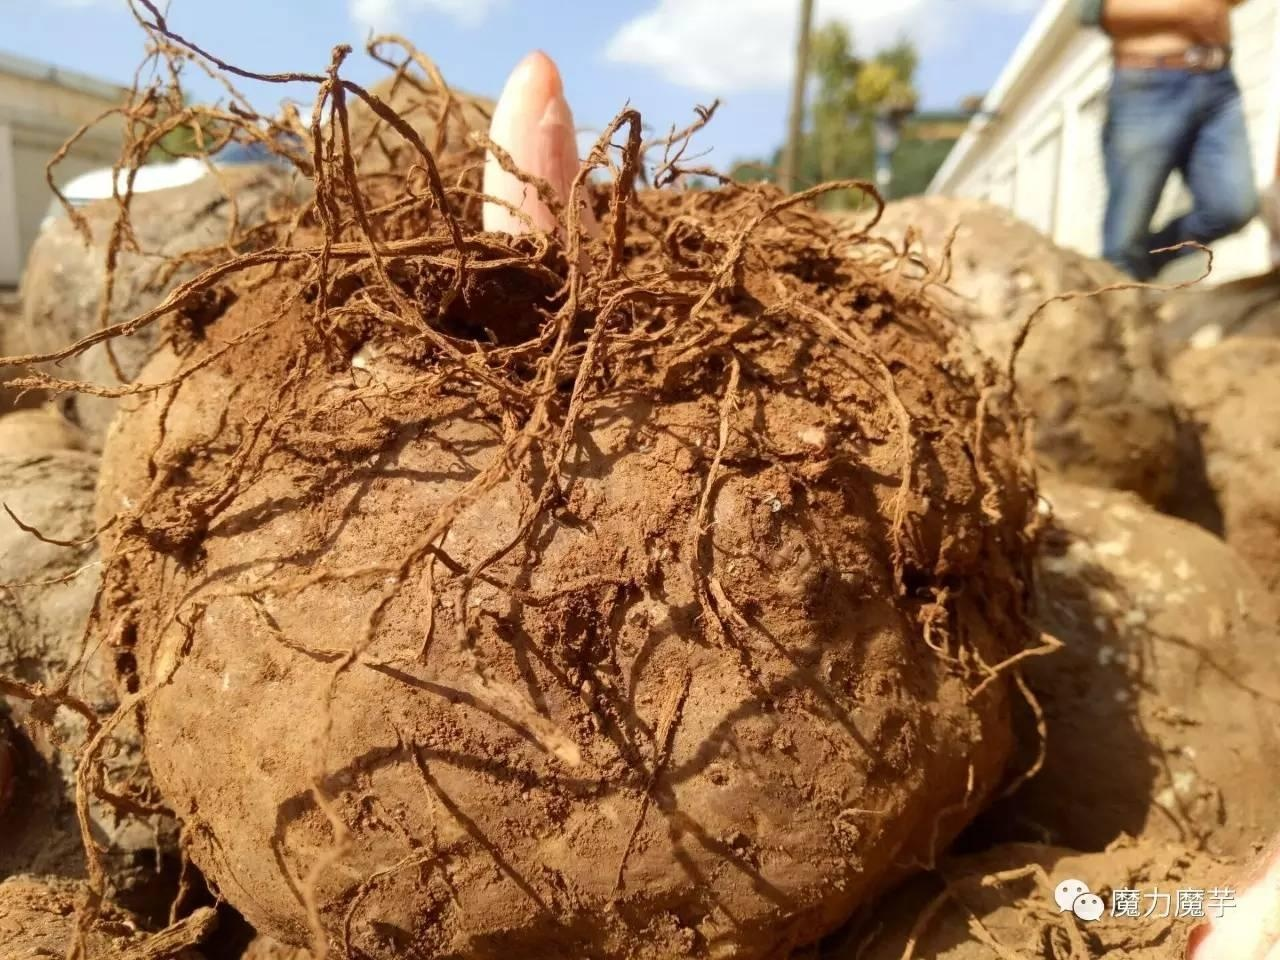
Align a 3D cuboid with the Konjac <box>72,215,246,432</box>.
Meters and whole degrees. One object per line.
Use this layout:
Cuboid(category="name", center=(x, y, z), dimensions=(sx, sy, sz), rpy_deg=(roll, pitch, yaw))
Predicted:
Cuboid(category="Konjac", center=(-1.249, -0.411, 3.236), dimensions=(0.459, 0.705, 0.229), rpy_deg=(8, -5, 41))
